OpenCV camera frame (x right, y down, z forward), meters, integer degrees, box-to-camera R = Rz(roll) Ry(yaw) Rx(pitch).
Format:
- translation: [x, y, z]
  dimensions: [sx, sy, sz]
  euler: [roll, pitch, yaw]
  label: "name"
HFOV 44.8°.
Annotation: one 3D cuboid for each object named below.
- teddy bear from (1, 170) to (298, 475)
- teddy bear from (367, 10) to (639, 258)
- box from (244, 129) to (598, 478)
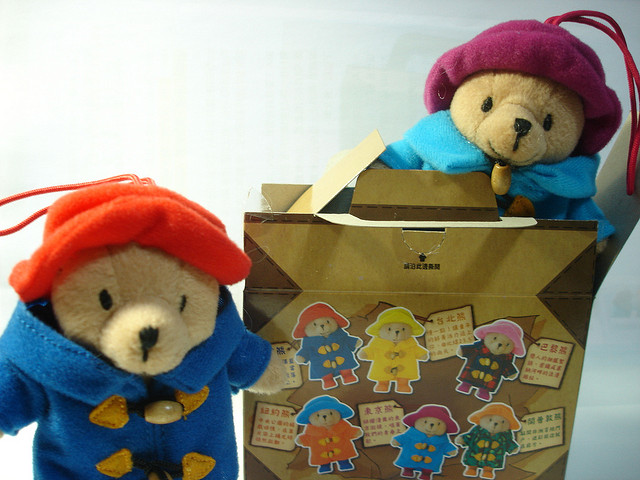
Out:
- translation: [-0.267, 0.154, 1.251]
  dimensions: [0.545, 0.526, 0.307]
  euler: [1, -11, -21]
  label: "teddy bear"
- translation: [0.346, -0.193, 1.450]
  dimensions: [0.434, 0.400, 0.235]
  euler: [17, 4, -1]
  label: "teddy bear"
- translation: [0.190, 0.190, 1.634]
  dimensions: [0.805, 0.870, 0.558]
  euler: [1, 5, -2]
  label: "box"
